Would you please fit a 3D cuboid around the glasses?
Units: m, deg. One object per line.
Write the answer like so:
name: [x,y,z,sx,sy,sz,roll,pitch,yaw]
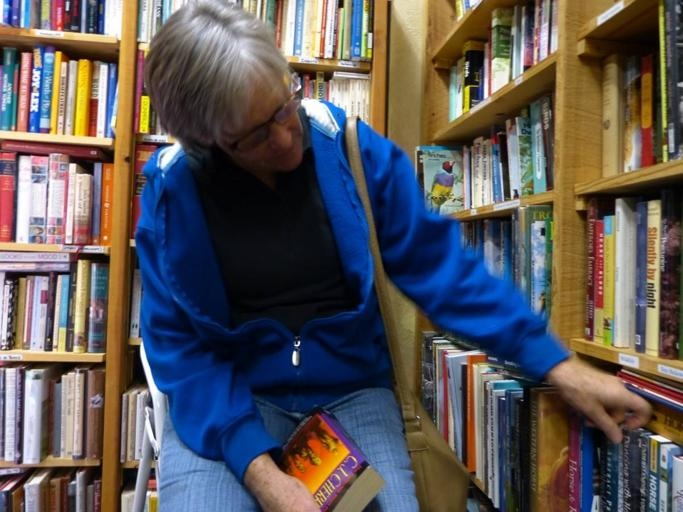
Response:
glasses: [-0.184,-0.375,1.720,0.200,0.198,0.060,46,2,37]
